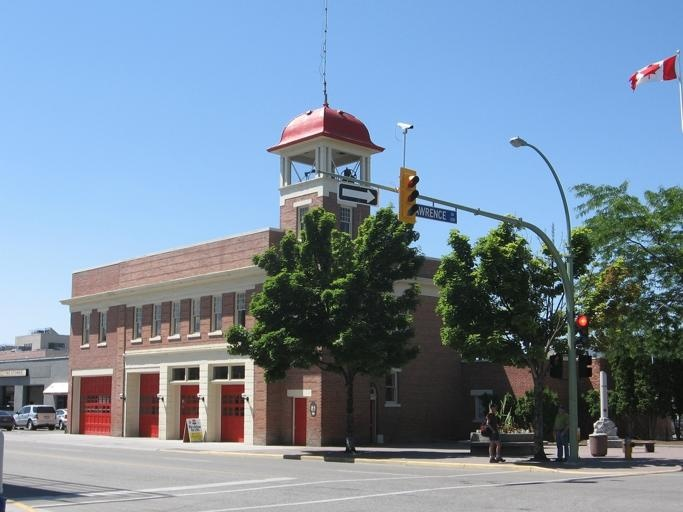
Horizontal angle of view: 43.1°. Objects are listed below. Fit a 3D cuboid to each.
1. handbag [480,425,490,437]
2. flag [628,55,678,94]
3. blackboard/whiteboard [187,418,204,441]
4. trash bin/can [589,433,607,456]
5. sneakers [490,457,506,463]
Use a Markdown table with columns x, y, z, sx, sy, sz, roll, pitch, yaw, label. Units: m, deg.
| x | y | z | sx | sy | sz | roll | pitch | yaw | label |
| --- | --- | --- | --- | --- | --- | --- | --- | --- | --- |
| 5.685 | 6.881 | 34.121 | 0.273 | 0.467 | 0.436 | -1 | -16 | 0 | handbag |
| 13.428 | -7.767 | 36.701 | 1.635 | 1.136 | 1.844 | -1 | -17 | -2 | flag |
| -7.985 | 9.479 | 46.997 | 0.513 | 1.252 | 1.277 | -8 | -17 | 23 | blackboard/whiteboard |
| 10.860 | 8.070 | 36.912 | 0.807 | 0.907 | 0.803 | 5 | -11 | -35 | trash bin/can |
| 6.162 | 8.042 | 34.064 | 0.657 | 0.284 | 0.240 | 1 | -5 | -16 | sneakers |
